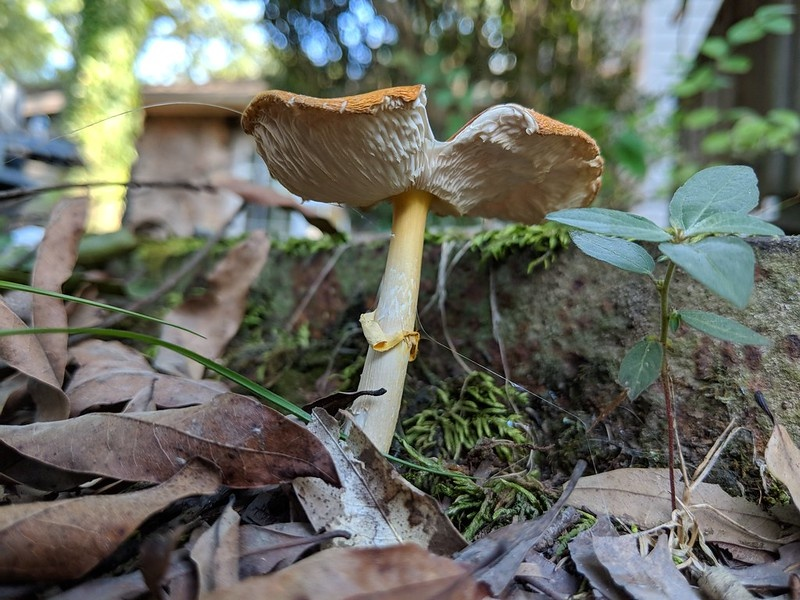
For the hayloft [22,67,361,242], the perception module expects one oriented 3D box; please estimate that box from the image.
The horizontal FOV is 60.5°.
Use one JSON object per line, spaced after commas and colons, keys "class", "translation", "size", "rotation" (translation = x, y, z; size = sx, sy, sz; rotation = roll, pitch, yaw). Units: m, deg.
{"class": "hayloft", "translation": [-2.363, -1.843, 7.956], "size": [3.436, 1.960, 3.104], "rotation": [-1, 3, -3]}
